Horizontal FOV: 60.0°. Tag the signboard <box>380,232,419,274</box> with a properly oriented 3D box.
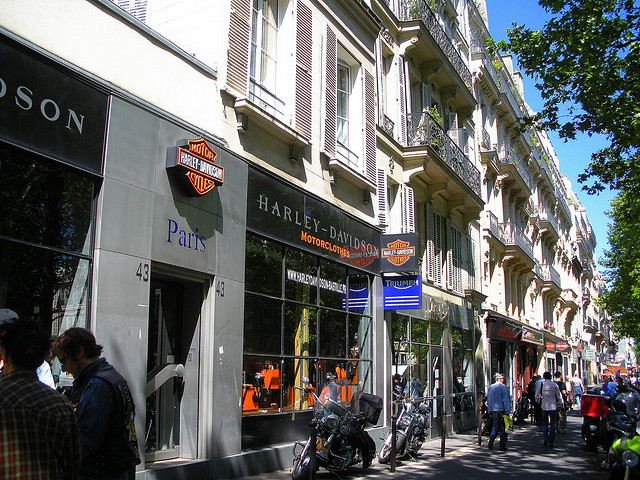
[{"bbox_3d":[2.259,0.375,15.812,0.778,1.062,0.126,-9,-16,24],"label":"signboard"}]

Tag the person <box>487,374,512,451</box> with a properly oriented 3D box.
[{"bbox_3d":[5.038,4.824,15.641,0.646,2.100,1.110,-4,-18,17],"label":"person"}]

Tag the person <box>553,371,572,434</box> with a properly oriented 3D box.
[{"bbox_3d":[9.060,6.144,21.008,0.564,2.207,0.742,13,-15,-34],"label":"person"}]

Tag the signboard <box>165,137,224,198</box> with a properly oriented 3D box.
[{"bbox_3d":[-2.073,-1.259,9.578,0.141,1.067,1.079,-6,-13,35],"label":"signboard"}]

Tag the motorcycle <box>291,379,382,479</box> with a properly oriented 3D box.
[{"bbox_3d":[0.260,3.669,10.660,1.098,1.634,2.579,-9,-30,25],"label":"motorcycle"}]

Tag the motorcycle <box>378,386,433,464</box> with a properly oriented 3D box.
[{"bbox_3d":[2.218,4.403,13.370,0.985,1.490,2.309,13,4,32],"label":"motorcycle"}]

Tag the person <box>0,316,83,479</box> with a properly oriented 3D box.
[{"bbox_3d":[-2.045,1.114,4.001,0.654,1.113,0.301,6,-17,-14],"label":"person"}]

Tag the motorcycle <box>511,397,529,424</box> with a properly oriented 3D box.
[{"bbox_3d":[8.202,7.026,22.572,0.606,0.813,1.267,7,-38,21],"label":"motorcycle"}]

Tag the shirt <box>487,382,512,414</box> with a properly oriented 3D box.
[{"bbox_3d":[4.978,4.404,15.505,0.601,0.863,0.387,-5,-18,19],"label":"shirt"}]

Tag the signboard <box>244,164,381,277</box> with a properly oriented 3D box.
[{"bbox_3d":[-0.022,-0.331,13.216,0.179,2.159,5.677,-8,-23,30],"label":"signboard"}]

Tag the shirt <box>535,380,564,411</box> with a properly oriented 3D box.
[{"bbox_3d":[7.125,4.688,17.365,0.876,1.176,0.567,3,26,33],"label":"shirt"}]
